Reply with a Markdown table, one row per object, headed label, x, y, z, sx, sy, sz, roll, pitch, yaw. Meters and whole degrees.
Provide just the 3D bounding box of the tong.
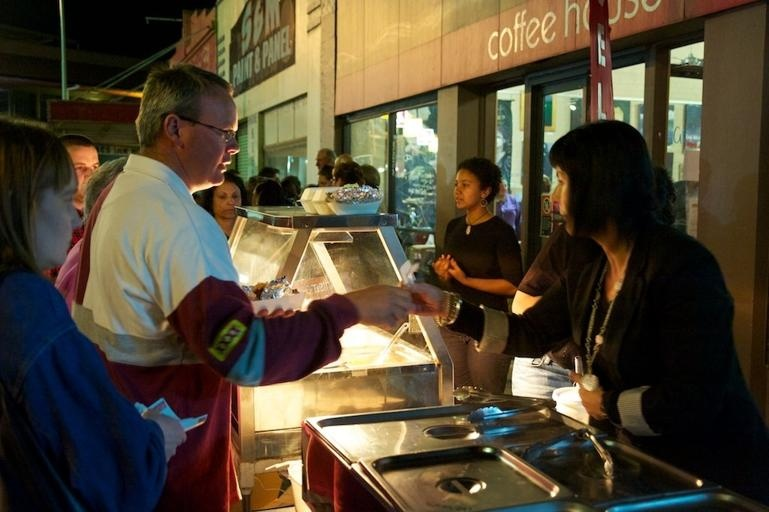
| label | x | y | z | sx | sy | sz | roll | pitch | yaw |
| --- | --- | --- | --- | --- | --- | --- | --- | --- | --- |
| tong | 0.414 | 0.592 | 2.574 | 0.335 | 0.077 | 0.354 | 0 | 7 | -31 |
